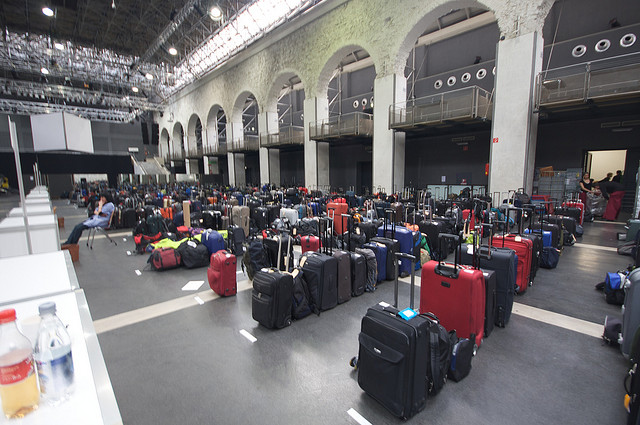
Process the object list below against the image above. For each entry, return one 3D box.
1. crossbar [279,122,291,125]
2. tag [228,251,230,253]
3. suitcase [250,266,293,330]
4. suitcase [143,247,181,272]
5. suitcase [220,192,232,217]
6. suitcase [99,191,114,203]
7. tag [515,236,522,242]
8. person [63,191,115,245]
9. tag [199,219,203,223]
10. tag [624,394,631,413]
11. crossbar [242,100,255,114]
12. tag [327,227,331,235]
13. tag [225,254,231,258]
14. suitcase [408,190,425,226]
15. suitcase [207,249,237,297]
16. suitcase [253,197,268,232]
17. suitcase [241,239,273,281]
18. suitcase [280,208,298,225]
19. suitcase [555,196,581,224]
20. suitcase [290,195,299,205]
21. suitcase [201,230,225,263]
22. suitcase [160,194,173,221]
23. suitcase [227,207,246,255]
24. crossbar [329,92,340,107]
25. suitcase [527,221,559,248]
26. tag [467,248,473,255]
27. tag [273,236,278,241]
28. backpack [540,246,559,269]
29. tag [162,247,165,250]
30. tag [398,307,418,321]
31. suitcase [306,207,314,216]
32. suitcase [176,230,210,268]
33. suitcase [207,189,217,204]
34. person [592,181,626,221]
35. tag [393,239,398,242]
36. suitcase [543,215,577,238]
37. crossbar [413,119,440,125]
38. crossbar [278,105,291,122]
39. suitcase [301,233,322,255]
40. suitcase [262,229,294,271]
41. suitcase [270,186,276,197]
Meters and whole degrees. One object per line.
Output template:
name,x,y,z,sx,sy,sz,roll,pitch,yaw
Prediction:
crossbar,-2.688,-6.838,30.071,0.724,0.252,1.535,-2,5,-10
tag,-2.461,1.062,10.637,0.031,0.066,0.036,-5,13,-23
suitcase,-1.120,1.886,8.790,0.645,1.332,0.953,-10,15,-44
suitcase,-4.251,1.268,10.602,0.718,0.582,0.560,-8,5,8
suitcase,-3.223,-0.189,13.588,0.380,0.783,0.478,-4,16,-26
suitcase,-6.793,-0.535,12.601,0.342,0.500,0.471,6,8,39
tag,4.716,0.626,9.282,0.113,0.142,0.224,2,2,-2
person,-6.898,0.108,11.872,0.561,1.386,1.555,0,6,7
tag,-4.206,0.299,13.921,0.091,0.114,0.289,-3,6,-21
tag,5.746,3.562,7.299,0.082,0.264,0.200,0,9,19
crossbar,-6.052,-9.263,33.774,0.908,0.992,1.488,-3,6,-14
tag,0.267,0.485,9.973,0.091,0.190,0.103,-2,5,-13
tag,-2.186,1.047,9.400,0.110,0.063,0.106,-3,6,-22
suitcase,2.974,0.130,11.953,0.382,0.876,0.463,2,4,8
suitcase,-2.352,1.501,9.535,0.651,1.067,0.331,3,8,30
suitcase,-2.019,0.197,13.660,0.449,0.726,0.660,-3,6,-20
suitcase,-1.638,1.207,9.973,0.766,1.158,0.753,-11,20,-25
suitcase,-0.968,0.042,12.837,0.387,0.788,0.690,-8,12,-40
suitcase,8.289,-0.064,13.017,0.424,1.227,0.805,-16,16,-35
suitcase,-1.064,-0.551,16.694,0.376,0.312,0.829,-2,5,-7
suitcase,-3.099,0.867,11.126,0.739,0.809,0.441,20,25,31
suitcase,-5.540,-0.040,14.106,0.424,0.887,0.544,-4,7,0
suitcase,-2.474,0.508,11.409,0.542,1.494,0.514,-1,5,13
crossbar,0.921,-7.592,26.296,0.113,0.727,0.144,42,20,20
suitcase,5.914,0.606,10.326,0.231,0.766,0.693,0,-2,-43
tag,3.281,0.836,8.501,0.126,0.132,0.034,3,-4,31
tag,-1.086,0.641,9.661,0.077,0.103,0.133,1,-1,-32
backpack,6.074,1.194,10.341,0.544,0.605,0.393,-4,6,-37
tag,-4.269,0.984,10.700,0.039,0.043,0.011,-2,-10,0
tag,1.676,1.891,7.351,0.255,0.077,0.192,-19,30,-34
suitcase,-0.294,-0.060,14.071,0.223,0.417,0.399,-6,13,-29
suitcase,-3.659,1.158,11.250,0.790,0.511,1.363,-12,14,-34
suitcase,-4.478,-0.555,16.246,0.272,0.955,0.273,-7,7,-35
person,11.029,-0.442,14.826,0.497,1.483,0.807,-2,6,-6
tag,1.923,0.708,9.882,0.116,0.048,0.185,-1,5,5
suitcase,6.994,0.422,11.399,0.643,0.713,0.219,-1,0,32
crossbar,4.435,-3.754,16.171,1.214,0.081,0.166,4,7,45
crossbar,-2.694,-7.804,30.585,1.127,1.114,0.295,3,8,32
suitcase,-0.219,0.810,10.661,0.385,0.801,0.722,-7,9,-29
suitcase,-0.954,0.944,9.873,0.567,1.084,0.671,-16,26,-26
suitcase,-2.095,-1.029,18.129,0.164,0.561,0.368,-3,-1,-23
